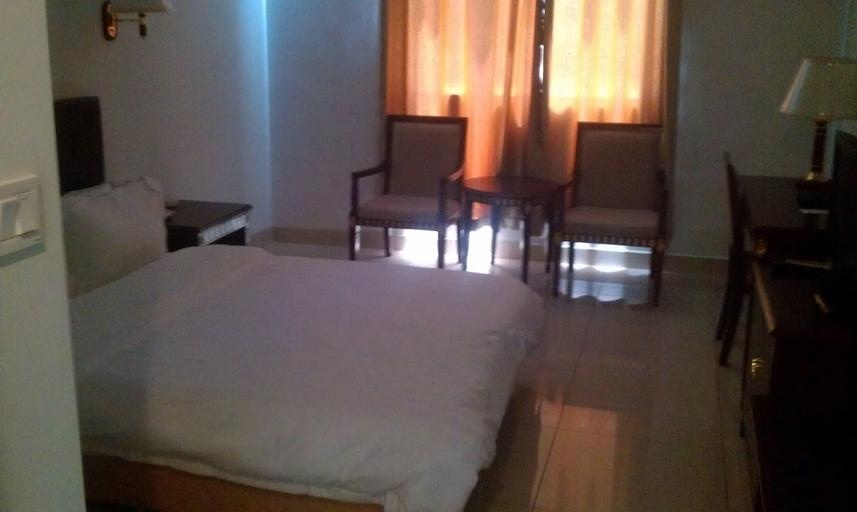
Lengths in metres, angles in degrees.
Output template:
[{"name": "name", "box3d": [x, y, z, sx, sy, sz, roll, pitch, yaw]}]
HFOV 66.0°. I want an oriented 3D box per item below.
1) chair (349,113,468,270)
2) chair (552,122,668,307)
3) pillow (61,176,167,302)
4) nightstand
[{"name": "chair", "box3d": [-0.128, -0.431, 4.609, 0.888, 1.029, 0.844, -3, 17, -9]}, {"name": "chair", "box3d": [1.209, -0.323, 4.258, 0.684, 1.025, 0.772, 6, 16, 14]}, {"name": "pillow", "box3d": [-1.358, -0.099, 2.849, 0.109, 0.446, 0.470, 0, 9, 25]}, {"name": "nightstand", "box3d": [-1.261, -0.174, 3.566, 0.299, 0.212, 0.403, 5, 17, 9]}]
